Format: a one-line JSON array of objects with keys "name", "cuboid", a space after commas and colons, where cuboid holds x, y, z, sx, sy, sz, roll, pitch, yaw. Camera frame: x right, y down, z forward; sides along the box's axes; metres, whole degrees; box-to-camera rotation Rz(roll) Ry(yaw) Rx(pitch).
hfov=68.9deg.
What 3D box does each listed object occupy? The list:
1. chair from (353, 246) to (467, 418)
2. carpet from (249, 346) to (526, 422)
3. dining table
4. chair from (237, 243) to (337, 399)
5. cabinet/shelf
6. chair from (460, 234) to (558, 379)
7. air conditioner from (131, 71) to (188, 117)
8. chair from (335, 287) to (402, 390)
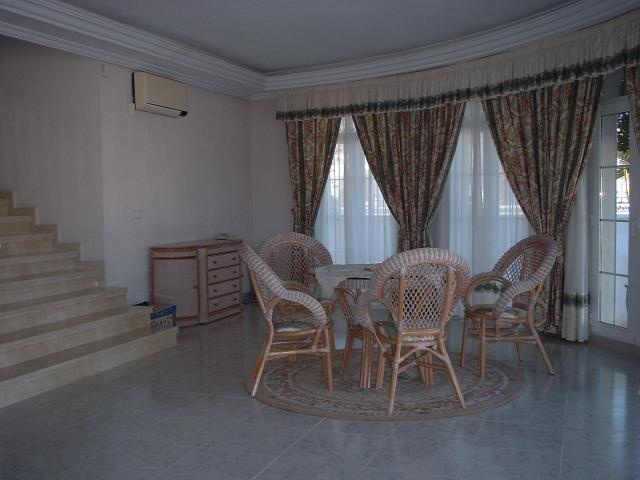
[{"name": "chair", "cuboid": [0.746, 0.668, 3.629, 0.810, 1.204, 0.712, -1, 5, -9]}, {"name": "carpet", "cuboid": [0.537, 1.290, 4.345, 2.483, 0.029, 2.670, -3, -6, 26]}, {"name": "dining table", "cuboid": [0.393, 0.763, 4.053, 0.809, 0.819, 0.807, -11, -19, 44]}, {"name": "chair", "cuboid": [-0.270, 0.657, 4.080, 0.818, 1.217, 0.909, 0, 1, -15]}, {"name": "cabinet/shelf", "cuboid": [-1.541, 0.524, 6.196, 0.610, 0.987, 1.168, 6, 10, 33]}, {"name": "chair", "cuboid": [1.737, 0.572, 4.360, 0.813, 1.196, 0.914, -1, 0, -17]}, {"name": "air conditioner", "cuboid": [-1.980, -1.813, 5.887, 0.182, 0.450, 0.702, 3, 8, 31]}, {"name": "chair", "cuboid": [0.397, 0.752, 4.230, 0.668, 0.896, 0.755, 0, 2, 13]}]
